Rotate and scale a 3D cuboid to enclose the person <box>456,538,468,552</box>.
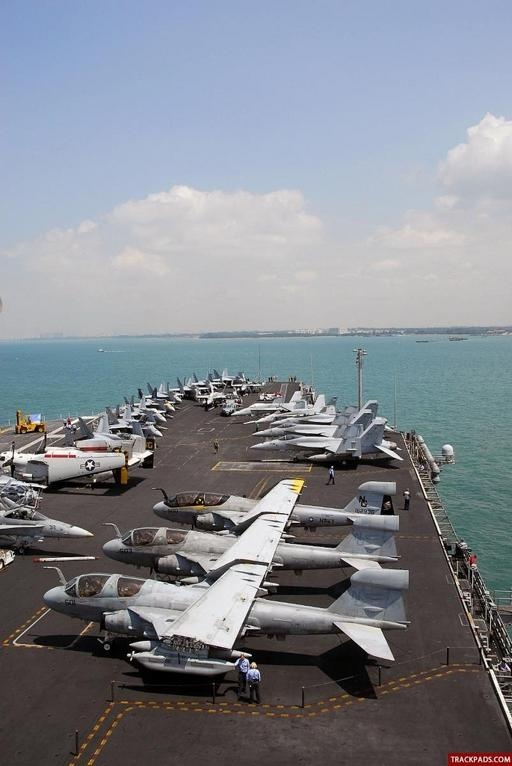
[{"bbox_3d":[11.081,8.742,35.385,0.469,0.624,1.167,1,6,8],"label":"person"}]

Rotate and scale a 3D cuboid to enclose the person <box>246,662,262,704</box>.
[{"bbox_3d":[-0.076,10.101,22.826,0.503,1.350,1.327,0,6,-1],"label":"person"}]

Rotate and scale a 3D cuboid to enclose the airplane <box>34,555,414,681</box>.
[{"bbox_3d":[-0.967,8.652,25.288,11.021,2.946,5.218,2,6,14],"label":"airplane"}]
